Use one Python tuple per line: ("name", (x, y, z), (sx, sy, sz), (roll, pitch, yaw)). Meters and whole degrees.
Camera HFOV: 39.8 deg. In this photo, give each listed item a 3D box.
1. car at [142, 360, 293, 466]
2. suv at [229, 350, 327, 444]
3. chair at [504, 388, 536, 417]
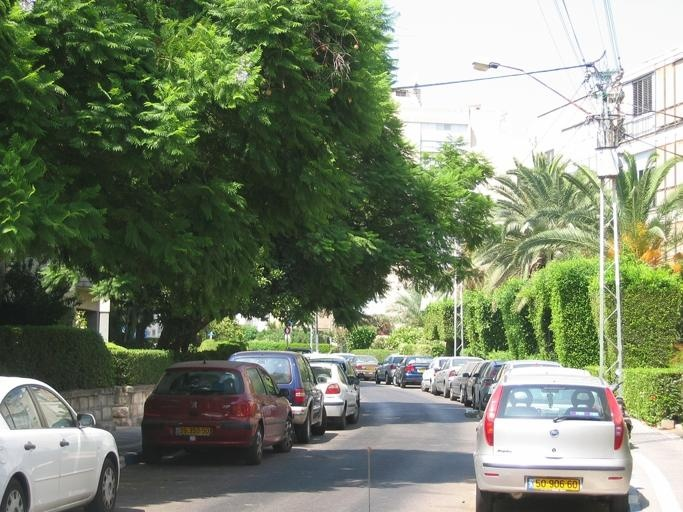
("car", (-2.180, 3.007, 18.576), (1.522, 1.421, 2.718), (0, -4, 12))
("suv", (-1.272, 3.076, 21.735), (1.271, 1.391, 2.667), (0, -1, 7))
("chair", (2.575, 2.193, 13.826), (0.367, 0.417, 0.344), (1, -16, 3))
